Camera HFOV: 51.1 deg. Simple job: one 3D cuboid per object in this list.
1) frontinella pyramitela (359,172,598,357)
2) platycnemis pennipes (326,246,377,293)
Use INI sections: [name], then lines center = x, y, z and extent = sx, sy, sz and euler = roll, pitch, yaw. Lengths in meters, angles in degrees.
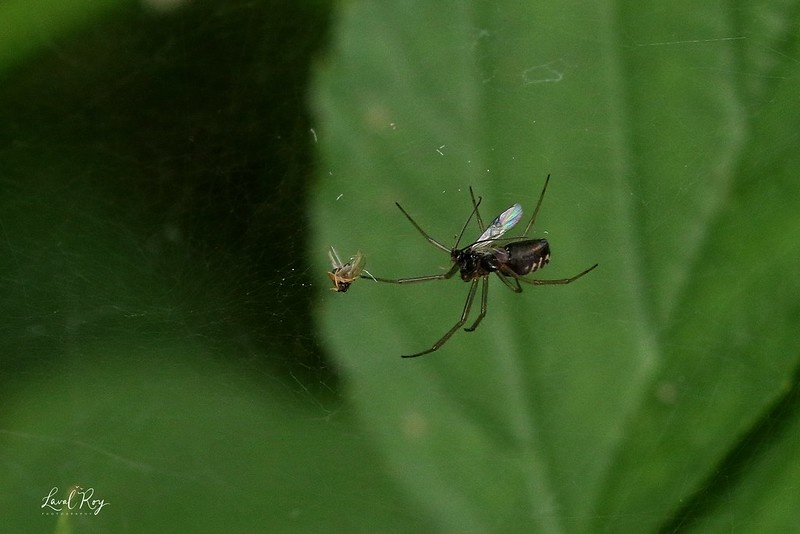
[frontinella pyramitela]
center = 0.251, -0.006, 2.476
extent = 0.650, 0.452, 0.168
euler = -8, -25, -1
[platycnemis pennipes]
center = -0.156, 0.000, 2.437
extent = 0.115, 0.140, 0.083
euler = -10, -25, 4
